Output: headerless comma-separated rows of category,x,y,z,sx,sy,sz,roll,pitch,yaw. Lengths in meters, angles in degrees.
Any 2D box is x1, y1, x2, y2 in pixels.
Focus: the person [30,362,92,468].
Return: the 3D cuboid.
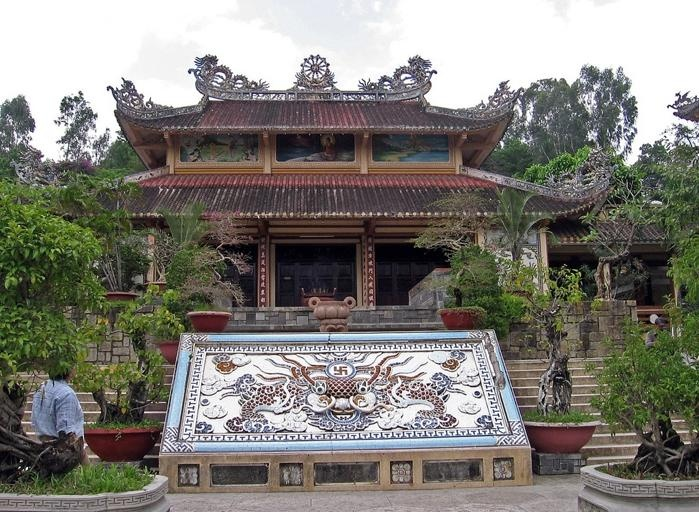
person,-3.754,2.077,11.151,1.080,1.123,0.417,-1,-7,38
